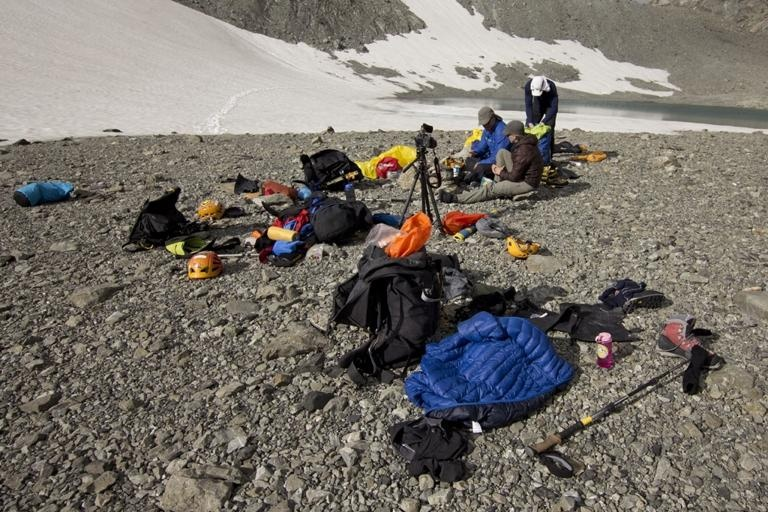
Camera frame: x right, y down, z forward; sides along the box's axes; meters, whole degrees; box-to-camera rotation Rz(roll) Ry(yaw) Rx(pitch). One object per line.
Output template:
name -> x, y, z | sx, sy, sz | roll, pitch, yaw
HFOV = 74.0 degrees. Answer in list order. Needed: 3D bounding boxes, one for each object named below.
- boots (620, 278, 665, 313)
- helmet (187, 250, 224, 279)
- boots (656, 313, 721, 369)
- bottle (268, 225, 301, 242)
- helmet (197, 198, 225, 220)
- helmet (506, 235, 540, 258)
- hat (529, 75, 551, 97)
boots -> 3.967, 0.649, 8.178 | 0.954, 0.288, 0.591 | -2, 36, 0
helmet -> -3.234, 0.180, 9.135 | 0.458, 0.286, 0.605 | 3, 3, -8
boots -> 4.543, 1.192, 7.511 | 0.842, 0.538, 0.691 | 18, 36, 27
bottle -> -1.975, -0.415, 9.748 | 0.524, 0.275, 0.474 | 16, 20, 19
helmet -> -3.718, -1.015, 11.036 | 0.579, 0.405, 0.439 | -11, 21, -37
helmet -> 2.552, -0.146, 9.371 | 0.640, 0.290, 0.419 | 8, 32, 13
hat -> 3.792, -4.163, 12.467 | 0.445, 0.191, 0.488 | 5, 63, 17
